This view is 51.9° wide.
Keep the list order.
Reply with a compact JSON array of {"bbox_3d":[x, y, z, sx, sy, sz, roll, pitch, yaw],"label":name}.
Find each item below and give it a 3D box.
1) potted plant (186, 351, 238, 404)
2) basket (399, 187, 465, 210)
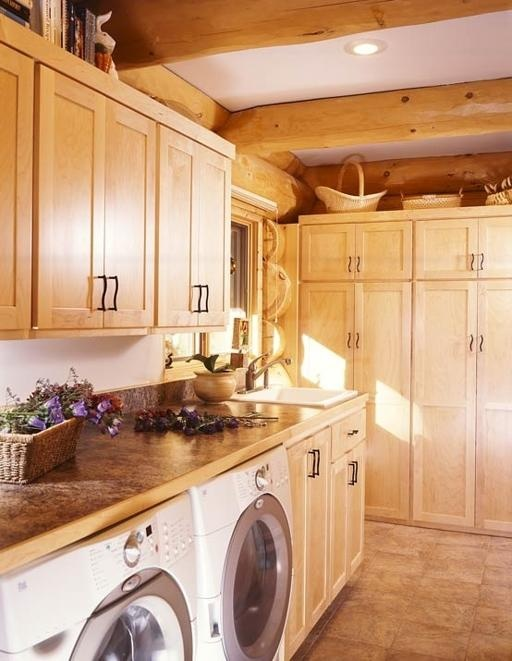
[{"bbox_3d":[-0.210,0.237,2.661,0.216,0.240,0.238,2,1,-14],"label":"potted plant"},{"bbox_3d":[1.273,-0.942,3.841,0.403,0.139,0.119,0,-3,21],"label":"basket"}]
